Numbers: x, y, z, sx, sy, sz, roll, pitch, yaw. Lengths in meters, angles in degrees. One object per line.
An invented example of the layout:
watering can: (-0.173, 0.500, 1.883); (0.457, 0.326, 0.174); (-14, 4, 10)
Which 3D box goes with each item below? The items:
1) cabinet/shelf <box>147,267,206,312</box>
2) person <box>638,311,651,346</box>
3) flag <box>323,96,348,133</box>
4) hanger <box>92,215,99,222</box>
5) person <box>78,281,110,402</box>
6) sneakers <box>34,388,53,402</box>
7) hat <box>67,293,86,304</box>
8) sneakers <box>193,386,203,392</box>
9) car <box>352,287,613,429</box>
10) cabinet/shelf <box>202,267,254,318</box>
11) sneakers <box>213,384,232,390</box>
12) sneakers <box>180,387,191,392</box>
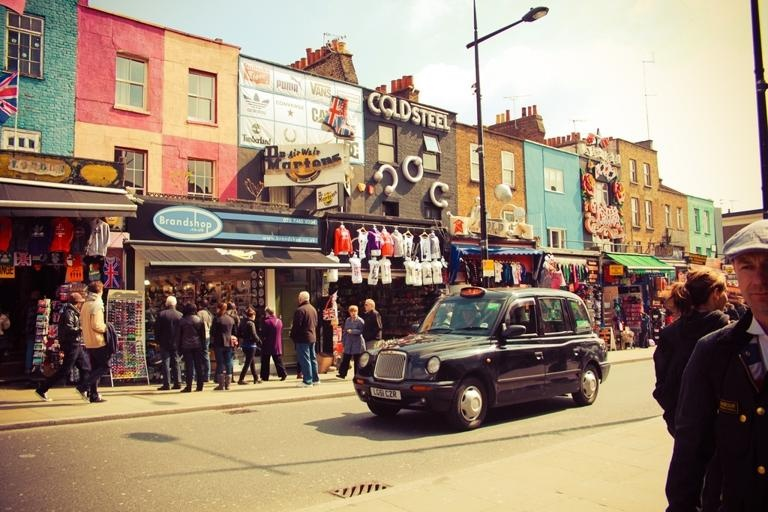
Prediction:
cabinet/shelf: (-6.598, 0.903, 21.492); (1.750, 1.686, 0.969); (1, 17, -11)
person: (12.558, 3.523, 32.261); (0.524, 1.584, 1.155); (-3, -5, 22)
flag: (-1.849, -5.473, 25.860); (1.075, 1.517, 0.138); (3, -7, -40)
hanger: (-8.165, -1.055, 18.986); (0.205, 0.114, 0.106); (2, -6, -34)
person: (-6.888, 2.019, 15.958); (0.646, 2.845, 0.485); (-3, -5, 23)
sneakers: (-8.209, 3.311, 16.107); (0.412, 0.192, 0.152); (38, -12, 6)
hat: (-8.021, 1.073, 17.404); (0.261, 0.317, 0.311); (10, 10, 14)
sneakers: (-4.971, 3.530, 17.876); (0.263, 0.188, 0.089); (2, -4, 22)
car: (2.347, 2.100, 14.652); (5.462, 2.910, 1.782); (2, -6, -32)
cabinet/shelf: (-5.356, 1.275, 22.400); (1.600, 1.497, 0.920); (-2, -18, -14)
sneakers: (-4.362, 3.525, 18.127); (0.168, 0.298, 0.406); (-12, -21, 42)
sneakers: (-5.239, 3.492, 17.751); (0.259, 0.141, 0.442); (0, -5, -18)
